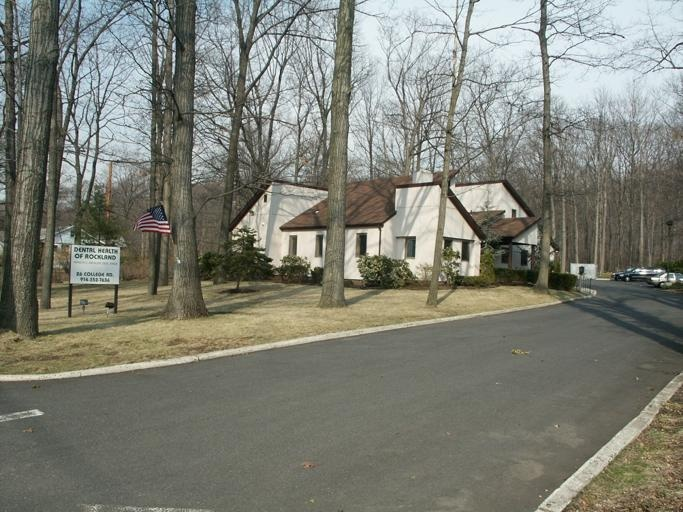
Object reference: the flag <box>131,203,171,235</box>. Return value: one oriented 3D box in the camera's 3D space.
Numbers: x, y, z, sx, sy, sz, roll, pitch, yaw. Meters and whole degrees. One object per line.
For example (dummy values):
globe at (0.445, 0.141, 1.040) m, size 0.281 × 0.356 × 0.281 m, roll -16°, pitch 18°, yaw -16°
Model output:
flag at (-7.533, -1.429, 26.385) m, size 1.184 × 1.225 × 2.734 m, roll -1°, pitch 7°, yaw -17°
